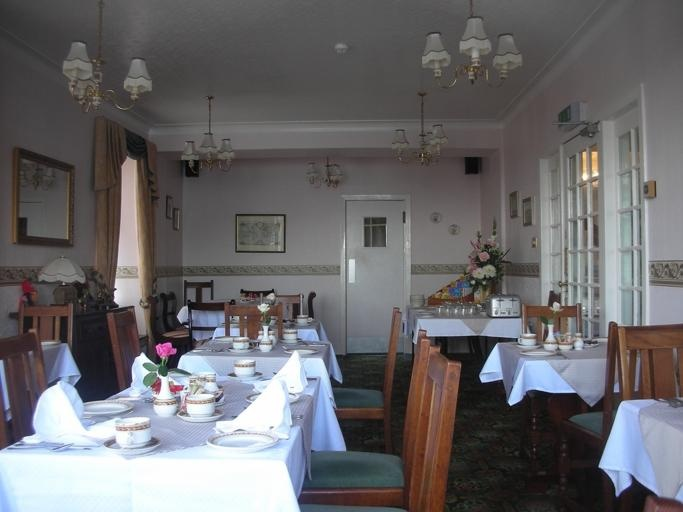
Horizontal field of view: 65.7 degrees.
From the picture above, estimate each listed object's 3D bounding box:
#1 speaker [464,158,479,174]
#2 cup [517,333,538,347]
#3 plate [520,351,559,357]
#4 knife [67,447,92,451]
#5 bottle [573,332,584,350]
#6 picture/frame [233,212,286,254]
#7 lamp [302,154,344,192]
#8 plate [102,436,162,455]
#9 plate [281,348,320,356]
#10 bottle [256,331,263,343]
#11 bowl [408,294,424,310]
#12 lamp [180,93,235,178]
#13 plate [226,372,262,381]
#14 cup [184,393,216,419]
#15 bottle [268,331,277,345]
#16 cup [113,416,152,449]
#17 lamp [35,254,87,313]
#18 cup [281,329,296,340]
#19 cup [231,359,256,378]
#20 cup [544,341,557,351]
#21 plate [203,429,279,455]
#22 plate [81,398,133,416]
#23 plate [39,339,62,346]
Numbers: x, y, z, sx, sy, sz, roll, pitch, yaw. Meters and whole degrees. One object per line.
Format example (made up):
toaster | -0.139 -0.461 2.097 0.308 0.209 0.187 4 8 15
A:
speaker | 2.120 -1.485 8.563 0.225 0.255 0.314 -1 -3 7
cup | 1.466 0.649 4.122 0.160 0.100 0.190 -1 -3 10
plate | 1.431 0.696 3.791 0.247 0.019 0.186 -2 -3 21
knife | -1.090 0.797 2.196 0.095 0.008 0.036 -1 -3 7
bottle | 1.797 0.638 3.988 0.063 0.116 0.169 -2 -3 26
picture/frame | -1.339 -0.401 8.793 0.589 0.524 0.023 1 1 3
lamp | -0.271 -1.362 8.598 0.495 0.388 0.513 1 2 -7
plate | -0.875 0.790 2.198 0.228 0.038 0.140 0 -3 -13
plate | -0.309 0.688 3.860 0.288 0.039 0.230 -1 -3 11
bottle | -0.636 0.609 4.049 0.071 0.078 0.077 1 -9 0
bowl | 0.985 0.573 6.809 0.145 0.135 0.159 -2 -1 0
lamp | -1.829 -1.692 7.173 0.727 1.232 0.736 0 -4 0
plate | -0.584 0.724 3.199 0.214 0.035 0.204 0 -3 -11
cup | -0.690 0.706 2.542 0.107 0.073 0.097 0 4 0
bottle | -0.523 0.625 4.044 0.082 0.091 0.088 -1 -3 1
cup | -0.865 0.730 2.192 0.127 0.102 0.102 1 -8 -10
lamp | -2.835 0.273 5.460 0.409 0.500 0.433 2 2 26
cup | -0.428 0.639 4.364 0.081 0.067 0.087 0 -1 0
cup | -0.600 0.682 3.240 0.092 0.077 0.100 -1 -2 0
cup | 1.569 0.663 3.916 0.107 0.060 0.087 -1 -3 1
plate | -0.422 0.788 2.252 0.284 0.042 0.187 -2 -3 18
plate | -1.155 0.748 2.616 0.221 0.044 0.206 1 -4 -29
plate | -2.357 0.701 4.282 0.134 0.030 0.187 1 -4 -32
